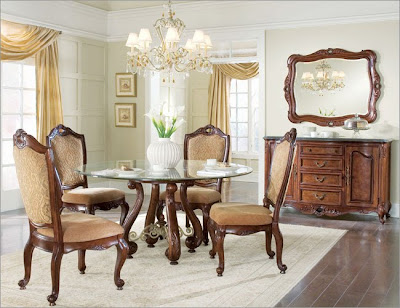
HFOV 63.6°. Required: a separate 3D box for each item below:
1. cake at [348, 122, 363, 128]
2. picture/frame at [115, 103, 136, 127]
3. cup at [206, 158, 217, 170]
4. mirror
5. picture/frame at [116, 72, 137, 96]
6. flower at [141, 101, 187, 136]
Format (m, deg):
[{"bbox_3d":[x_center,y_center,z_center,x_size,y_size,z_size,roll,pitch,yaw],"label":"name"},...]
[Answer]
[{"bbox_3d":[2.327,-0.428,4.805,0.082,0.097,0.150,-5,6,-43],"label":"cake"},{"bbox_3d":[-1.519,-0.828,6.594,0.497,0.484,0.053,2,3,25],"label":"picture/frame"},{"bbox_3d":[0.114,0.097,3.322,0.103,0.073,0.097,0,2,0],"label":"cup"},{"bbox_3d":[2.158,-1.075,5.099,1.358,1.086,0.069,2,5,25],"label":"mirror"},{"bbox_3d":[-1.486,-1.430,6.527,0.522,0.500,0.055,1,2,20],"label":"picture/frame"},{"bbox_3d":[-0.368,-0.345,3.325,0.355,0.356,0.482,0,4,-9],"label":"flower"}]
